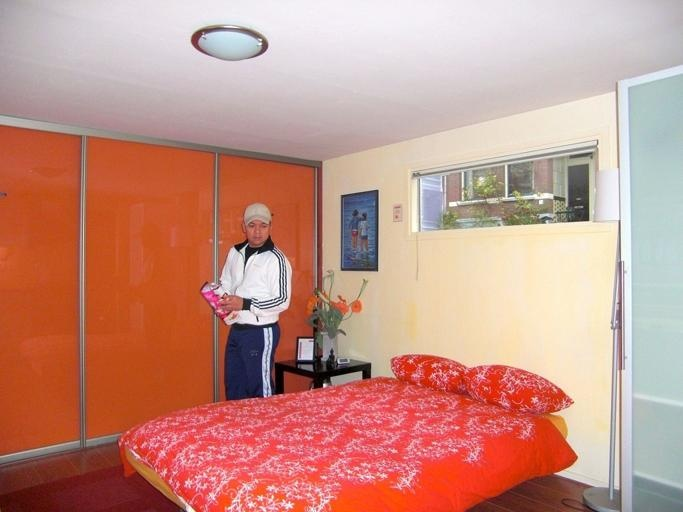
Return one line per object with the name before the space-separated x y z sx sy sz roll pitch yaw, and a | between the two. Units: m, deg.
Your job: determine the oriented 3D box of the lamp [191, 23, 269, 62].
lamp | -0.664 -1.285 3.013 0.408 0.404 0.101 -11 -37 -12
